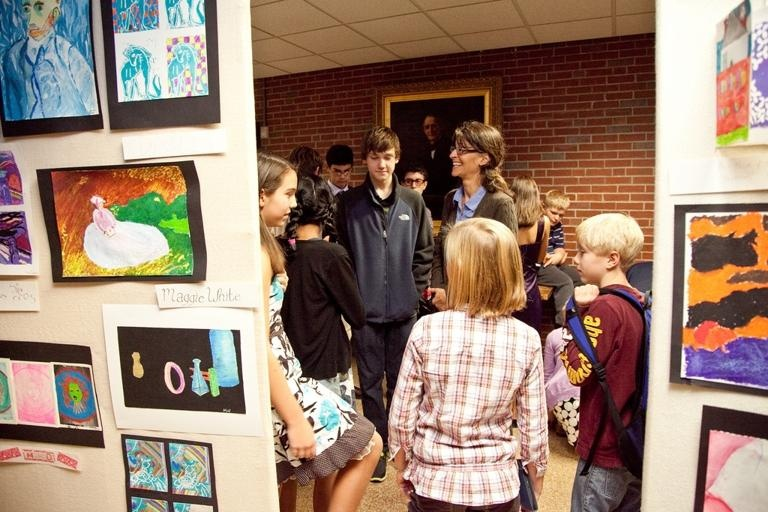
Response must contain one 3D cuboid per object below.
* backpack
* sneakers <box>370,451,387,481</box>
[{"bbox_3d":[0.825,0.450,2.165,0.277,0.669,0.327,2,5,25],"label":"backpack"},{"bbox_3d":[-0.024,1.101,3.113,0.070,0.153,0.278,1,5,6],"label":"sneakers"}]
